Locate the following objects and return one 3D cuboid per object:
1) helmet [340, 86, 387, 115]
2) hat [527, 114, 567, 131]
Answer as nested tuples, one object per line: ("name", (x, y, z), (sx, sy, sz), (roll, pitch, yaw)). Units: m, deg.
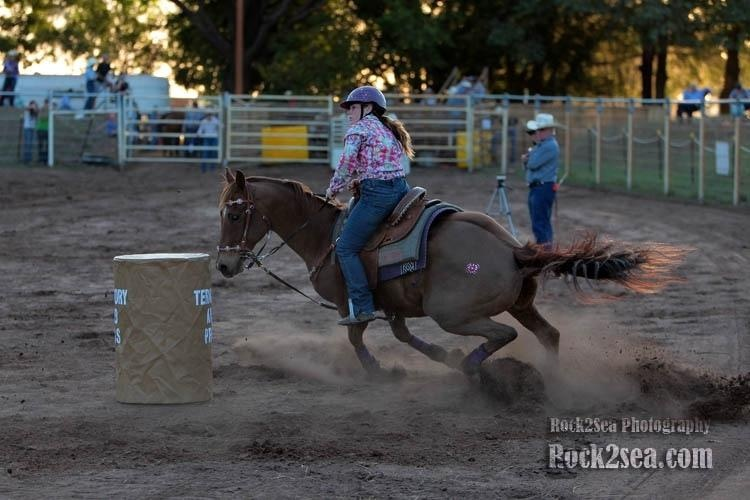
("helmet", (-0.187, -2.689, 23.119), (0.673, 0.312, 0.486), (3, -8, 0))
("hat", (3.638, -2.680, 27.203), (0.848, 0.313, 0.684), (-2, 5, -6))
